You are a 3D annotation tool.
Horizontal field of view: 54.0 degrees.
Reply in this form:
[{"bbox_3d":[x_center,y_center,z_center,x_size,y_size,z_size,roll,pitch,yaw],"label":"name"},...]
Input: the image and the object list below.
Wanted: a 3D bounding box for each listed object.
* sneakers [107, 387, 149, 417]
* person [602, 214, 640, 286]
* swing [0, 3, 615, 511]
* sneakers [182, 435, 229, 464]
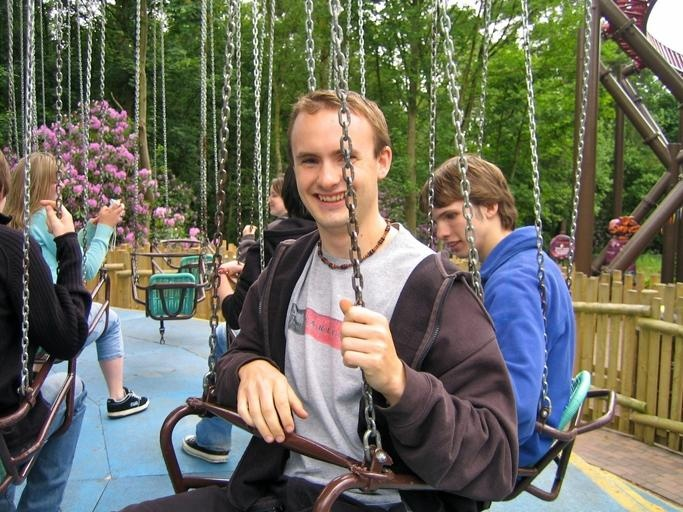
[{"bbox_3d":[-1.529,1.079,4.886,0.125,0.174,0.333,1,-1,31],"label":"sneakers"},{"bbox_3d":[5.893,-0.197,14.260,0.641,1.489,0.578,-2,21,-8],"label":"person"},{"bbox_3d":[0.024,0.325,3.325,2.090,2.142,2.169,-3,-5,31],"label":"swing"},{"bbox_3d":[-0.865,1.263,4.310,0.339,0.139,0.128,17,4,33],"label":"sneakers"}]
